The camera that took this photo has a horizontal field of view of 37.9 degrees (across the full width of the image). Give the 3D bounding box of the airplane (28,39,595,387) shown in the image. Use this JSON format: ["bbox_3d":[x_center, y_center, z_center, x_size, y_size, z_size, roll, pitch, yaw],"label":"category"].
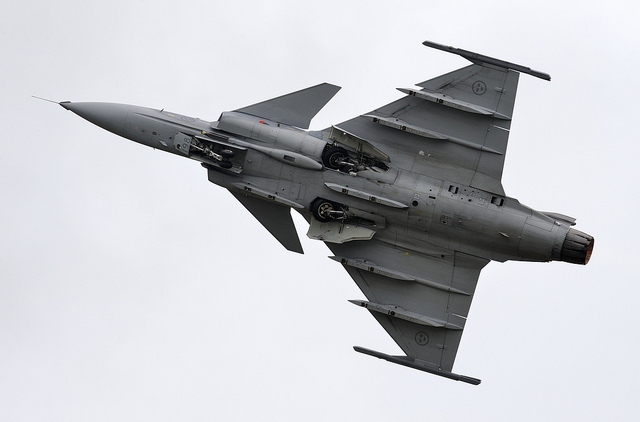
[{"bbox_3d":[0.125,-1.229,22.396,14.488,3.586,7.108,19,-57,22],"label":"airplane"}]
